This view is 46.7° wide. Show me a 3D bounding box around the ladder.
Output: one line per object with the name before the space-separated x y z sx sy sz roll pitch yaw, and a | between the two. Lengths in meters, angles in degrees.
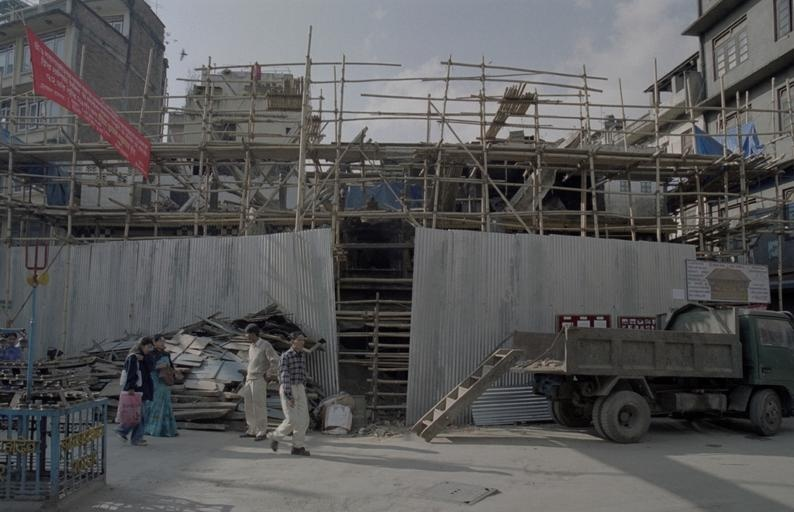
ladder | 2.100 4.523 30.103 1.686 2.728 0.851 24 -6 -25

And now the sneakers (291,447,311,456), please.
sneakers | -2.877 5.821 27.446 0.640 0.270 0.231 4 -5 -5

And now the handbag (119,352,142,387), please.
handbag | -8.085 3.406 28.197 0.678 1.170 1.183 1 6 -9

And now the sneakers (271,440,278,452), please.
sneakers | -3.659 5.670 27.547 0.199 0.323 0.245 2 -8 -14

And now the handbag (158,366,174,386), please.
handbag | -7.094 3.664 28.284 0.565 0.661 0.261 1 8 -2
